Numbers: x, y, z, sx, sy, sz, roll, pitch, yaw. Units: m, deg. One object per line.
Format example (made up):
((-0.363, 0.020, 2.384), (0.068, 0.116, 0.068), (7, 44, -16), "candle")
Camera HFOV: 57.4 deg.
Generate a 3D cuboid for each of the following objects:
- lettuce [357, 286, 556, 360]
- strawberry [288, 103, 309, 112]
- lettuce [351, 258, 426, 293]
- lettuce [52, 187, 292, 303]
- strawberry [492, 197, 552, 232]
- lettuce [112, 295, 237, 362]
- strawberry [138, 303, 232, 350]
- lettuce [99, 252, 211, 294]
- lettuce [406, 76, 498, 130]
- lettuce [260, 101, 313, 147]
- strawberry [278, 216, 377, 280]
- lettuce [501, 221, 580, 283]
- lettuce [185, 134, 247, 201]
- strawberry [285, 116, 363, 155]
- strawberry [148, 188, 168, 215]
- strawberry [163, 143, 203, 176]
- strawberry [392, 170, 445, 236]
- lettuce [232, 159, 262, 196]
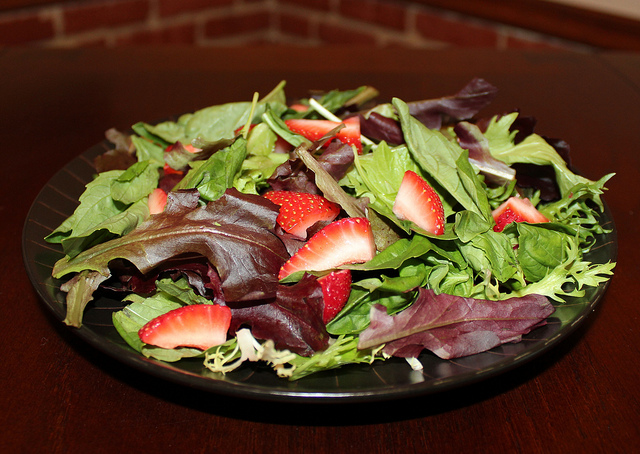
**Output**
((0.192, 0.135, 0.820), (0.284, 0.036, 0.094), (1, 60, -4), "lettuce")
((-0.044, -0.249, 1.218), (0.036, 0.040, 0.021), (1, 85, -3), "strawberry")
((0.104, 0.054, 0.871), (0.082, 0.058, 0.032), (-31, 103, -32), "lettuce")
((-0.195, 0.016, 0.834), (0.289, 0.086, 0.182), (-4, 79, 6), "lettuce")
((0.336, -0.019, 0.991), (0.072, 0.033, 0.107), (13, 16, 30), "strawberry")
((-0.197, 0.154, 0.867), (0.208, 0.040, 0.136), (7, 31, -12), "lettuce")
((-0.196, 0.147, 0.844), (0.136, 0.030, 0.073), (-7, 60, -36), "strawberry")
((-0.256, 0.052, 0.902), (0.154, 0.040, 0.107), (3, 34, -21), "lettuce")
((0.270, -0.255, 1.216), (0.208, 0.088, 0.072), (-18, 71, 9), "lettuce")
((-0.068, -0.195, 1.130), (0.136, 0.045, 0.041), (38, 53, 5), "lettuce")
((0.009, 0.032, 0.899), (0.144, 0.029, 0.076), (-27, 97, 1), "strawberry")
((0.343, 0.037, 0.917), (0.098, 0.024, 0.094), (12, 75, -6), "lettuce")
((-0.163, -0.097, 0.977), (0.114, 0.033, 0.068), (-33, 76, -19), "lettuce")
((0.008, -0.182, 1.118), (0.130, 0.074, 0.053), (12, 80, 4), "strawberry")
((-0.286, -0.046, 1.029), (0.037, 0.013, 0.054), (-1, 62, 23), "strawberry")
((-0.257, -0.130, 1.131), (0.075, 0.022, 0.072), (3, 77, 39), "strawberry")
((0.162, -0.038, 1.012), (0.125, 0.086, 0.087), (10, 28, 16), "strawberry")
((-0.127, -0.089, 1.024), (0.047, 0.021, 0.066), (10, 57, -5), "lettuce")
